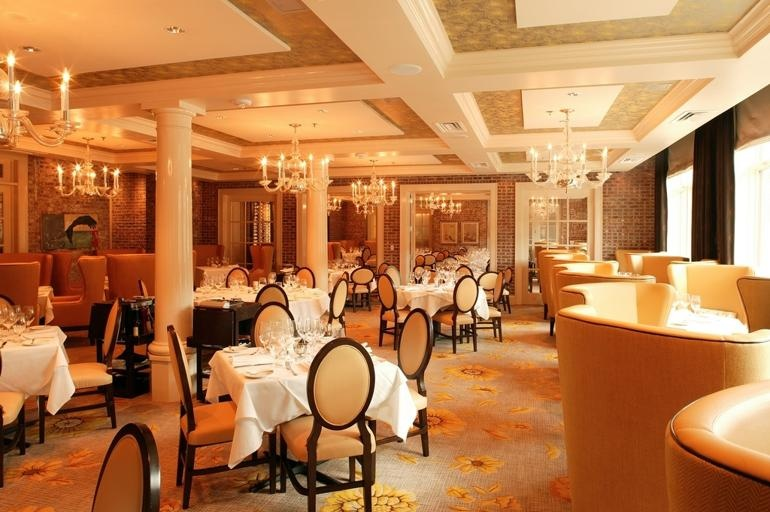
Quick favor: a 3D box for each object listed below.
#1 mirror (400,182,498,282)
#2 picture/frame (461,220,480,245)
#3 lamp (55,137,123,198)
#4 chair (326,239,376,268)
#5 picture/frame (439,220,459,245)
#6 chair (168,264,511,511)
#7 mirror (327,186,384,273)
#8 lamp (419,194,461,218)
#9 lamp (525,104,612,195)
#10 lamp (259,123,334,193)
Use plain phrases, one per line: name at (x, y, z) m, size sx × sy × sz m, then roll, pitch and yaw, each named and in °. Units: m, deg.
mirror at (2.011, -0.791, 15.671) m, size 3.475 × 3.597 × 0.284 m, roll 0°, pitch -2°, yaw 12°
picture/frame at (3.233, -0.898, 19.408) m, size 1.064 × 1.171 × 0.129 m, roll 0°, pitch 3°, yaw 9°
lamp at (-5.730, -1.613, 9.983) m, size 1.003 × 0.787 × 0.992 m, roll -3°, pitch 4°, yaw -36°
chair at (-1.199, -0.062, 18.616) m, size 1.254 × 1.370 × 1.334 m, roll 0°, pitch -8°, yaw 4°
picture/frame at (2.461, -0.908, 19.665) m, size 1.045 × 1.165 × 0.126 m, roll 0°, pitch 4°, yaw 9°
chair at (-0.702, 1.228, 4.858) m, size 2.286 × 1.354 × 1.446 m, roll 2°, pitch -3°, yaw -15°
mirror at (-0.991, -0.828, 16.629) m, size 2.894 × 3.031 × 0.249 m, roll 3°, pitch 6°, yaw 35°
lamp at (2.017, -1.938, 19.375) m, size 1.011 × 0.652 × 1.110 m, roll 2°, pitch -2°, yaw 10°
lamp at (2.778, -1.588, 7.864) m, size 1.296 × 1.147 × 1.252 m, roll 5°, pitch 8°, yaw 43°
lamp at (-1.358, -1.466, 7.731) m, size 1.112 × 0.962 × 1.038 m, roll -2°, pitch 3°, yaw 10°
